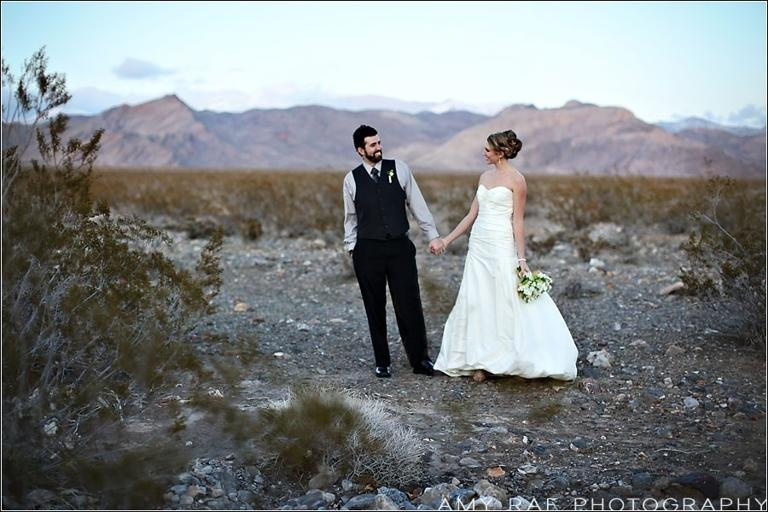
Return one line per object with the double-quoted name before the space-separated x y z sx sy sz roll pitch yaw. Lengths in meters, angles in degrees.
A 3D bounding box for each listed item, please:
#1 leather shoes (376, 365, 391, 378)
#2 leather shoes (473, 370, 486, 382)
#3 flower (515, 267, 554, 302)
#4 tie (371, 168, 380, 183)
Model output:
"leather shoes" -0.013 1.319 7.972 0.113 0.116 0.267 1 -6 -2
"leather shoes" 1.081 1.351 7.857 0.136 0.112 0.130 0 13 7
"flower" 1.738 0.323 7.890 0.354 0.207 0.413 -10 12 20
"tie" -0.096 -0.913 7.811 0.091 0.147 0.035 0 -9 -6
